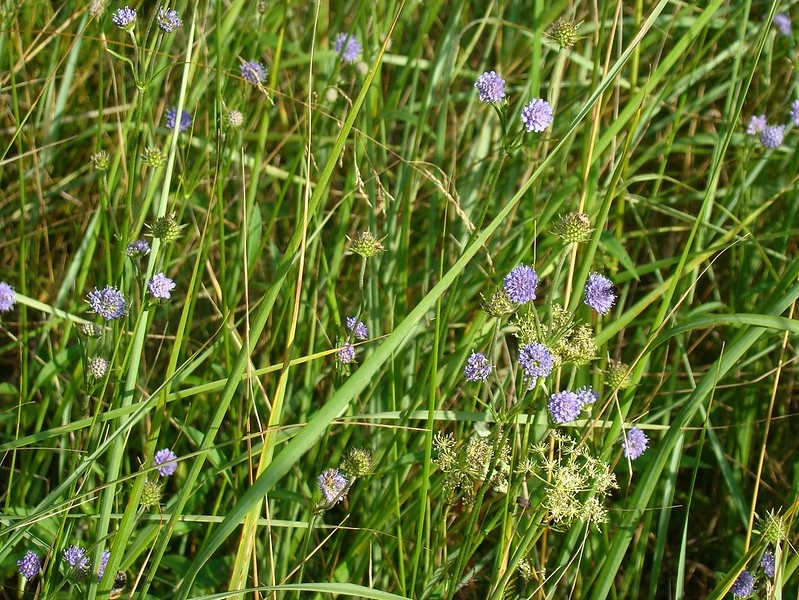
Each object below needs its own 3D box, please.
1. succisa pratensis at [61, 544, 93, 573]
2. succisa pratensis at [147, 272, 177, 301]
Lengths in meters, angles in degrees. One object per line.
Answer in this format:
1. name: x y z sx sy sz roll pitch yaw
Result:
1. succisa pratensis: -0.809 0.653 2.161 0.069 0.049 0.079 11 45 -37
2. succisa pratensis: -0.598 -0.032 2.147 0.059 0.073 0.025 -21 25 -40
